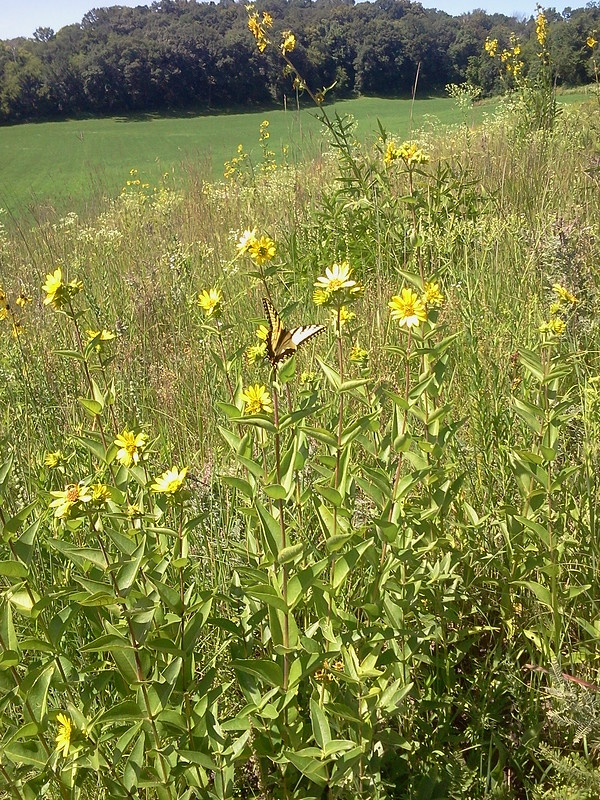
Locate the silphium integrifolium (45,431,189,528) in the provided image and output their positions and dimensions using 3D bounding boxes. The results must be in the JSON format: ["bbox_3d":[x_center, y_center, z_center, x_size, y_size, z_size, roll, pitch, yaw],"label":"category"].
[{"bbox_3d":[-0.379,0.166,1.396,0.259,0.111,0.313,0,54,-4],"label":"silphium integrifolium"}]
